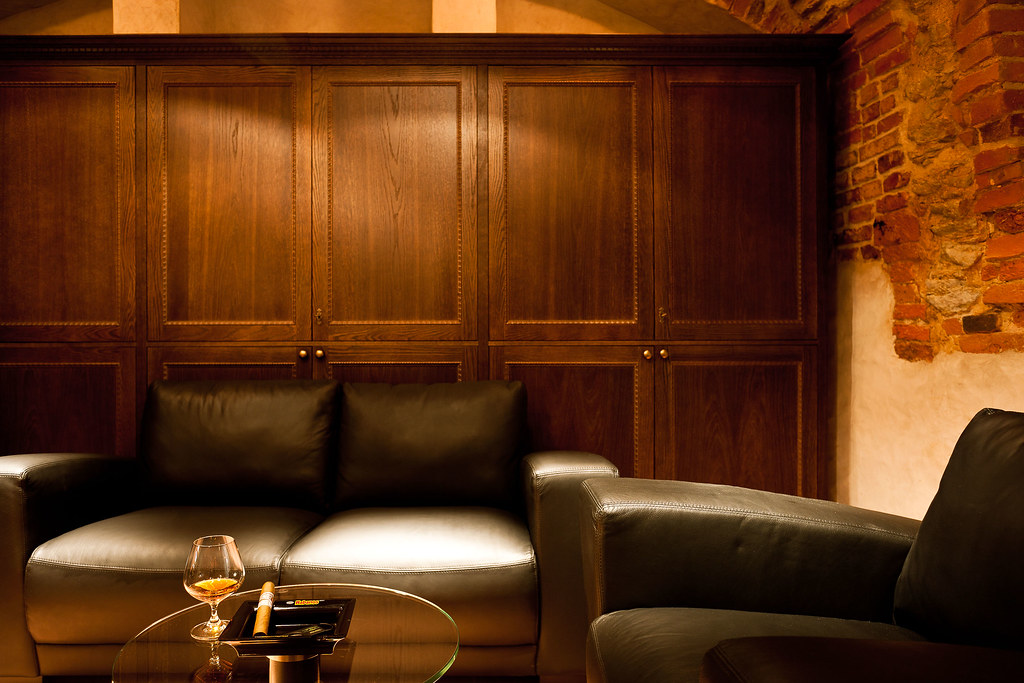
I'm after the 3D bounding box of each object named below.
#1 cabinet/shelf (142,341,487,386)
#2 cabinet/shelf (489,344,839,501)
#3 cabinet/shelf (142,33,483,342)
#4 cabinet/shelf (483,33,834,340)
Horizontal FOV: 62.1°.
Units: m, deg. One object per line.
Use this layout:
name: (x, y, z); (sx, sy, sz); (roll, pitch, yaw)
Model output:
cabinet/shelf: (-0.988, 0.103, 4.331); (1.706, 0.322, 0.195); (-3, -70, -9)
cabinet/shelf: (0.679, 0.398, 4.167); (0.853, 0.309, 0.713); (-1, -93, 0)
cabinet/shelf: (-1.066, -0.734, 4.327); (1.720, 0.642, 1.470); (0, -90, 0)
cabinet/shelf: (0.679, -0.744, 4.338); (1.718, 0.633, 1.458); (0, -90, 2)
